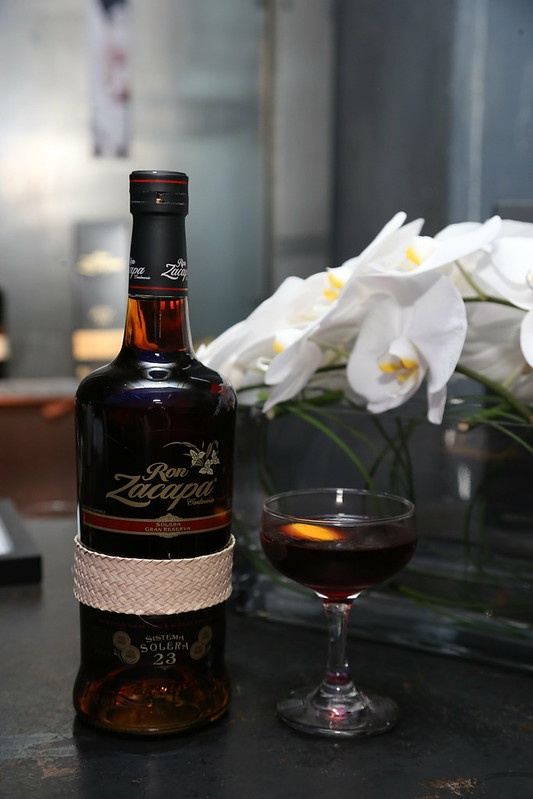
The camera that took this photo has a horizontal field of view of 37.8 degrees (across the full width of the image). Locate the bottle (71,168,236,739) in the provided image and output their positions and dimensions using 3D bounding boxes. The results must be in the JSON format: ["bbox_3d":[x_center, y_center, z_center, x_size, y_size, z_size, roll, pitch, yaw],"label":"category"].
[{"bbox_3d":[-0.067,0.035,0.453,0.096,0.320,0.060,1,7,-3],"label":"bottle"}]

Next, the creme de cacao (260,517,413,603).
[{"bbox_3d":[0.043,0.097,0.480,0.112,0.056,0.102,2,-4,6],"label":"creme de cacao"}]
